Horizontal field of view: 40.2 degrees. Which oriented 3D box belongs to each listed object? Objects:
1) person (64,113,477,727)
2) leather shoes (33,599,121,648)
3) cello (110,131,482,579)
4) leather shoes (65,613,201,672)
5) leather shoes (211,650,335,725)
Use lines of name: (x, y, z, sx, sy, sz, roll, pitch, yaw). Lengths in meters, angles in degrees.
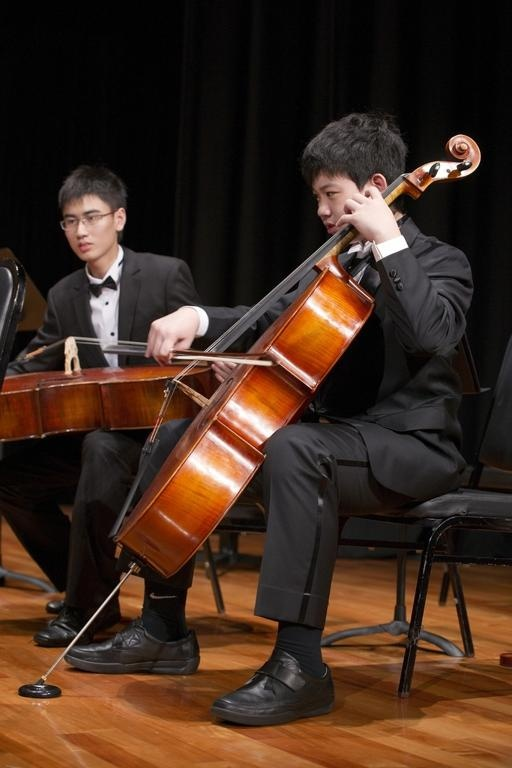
person: (0.046, 0.078, 2.007, 1.069, 1.722, 0.968, 7, -6, -21)
leather shoes: (-0.428, 0.577, 1.722, 0.083, 0.107, 0.247, -11, -9, 33)
cello: (0.024, -0.092, 1.279, 0.369, 0.853, 0.603, 15, 9, 39)
leather shoes: (-0.230, 0.535, 1.441, 0.300, 0.120, 0.097, 3, -22, -5)
leather shoes: (0.034, 0.469, 1.135, 0.224, 0.104, 0.081, 4, -6, -37)
